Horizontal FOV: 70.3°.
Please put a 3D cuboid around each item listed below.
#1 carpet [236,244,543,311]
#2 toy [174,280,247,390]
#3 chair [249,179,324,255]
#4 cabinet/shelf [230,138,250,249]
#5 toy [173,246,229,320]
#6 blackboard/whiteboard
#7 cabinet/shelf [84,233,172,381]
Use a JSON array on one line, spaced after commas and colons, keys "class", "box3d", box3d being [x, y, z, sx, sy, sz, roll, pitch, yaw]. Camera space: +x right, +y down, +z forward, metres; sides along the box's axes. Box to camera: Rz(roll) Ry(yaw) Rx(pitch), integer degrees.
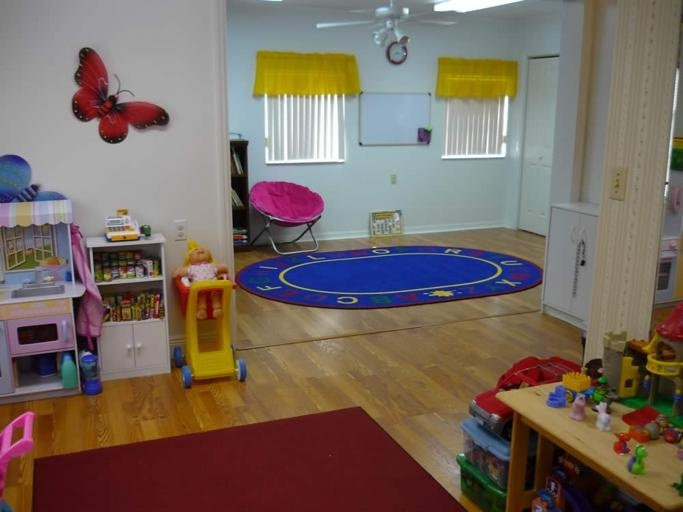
[{"class": "carpet", "box3d": [0.571, 0.221, 6.020, 3.663, 0.319, 2.102, -3, 8, -16]}, {"class": "toy", "box3d": [-1.030, 0.521, 3.700, 0.508, 0.775, 0.624, -3, 8, -23]}, {"class": "chair", "box3d": [-0.869, -0.704, 7.166, 1.072, 1.113, 1.008, -2, 8, -34]}, {"class": "cabinet/shelf", "box3d": [-1.450, -0.934, 6.922, 0.253, 1.587, 0.585, -2, 7, -11]}, {"class": "toy", "box3d": [-1.020, 0.172, 3.595, 0.307, 0.292, 0.523, -4, 22, -17]}, {"class": "blackboard/whiteboard", "box3d": [0.796, -2.199, 7.619, 0.778, 0.602, 0.084, -1, 6, -16]}, {"class": "cabinet/shelf", "box3d": [-1.563, 0.375, 3.595, 0.550, 1.055, 0.414, -5, 8, -31]}]
